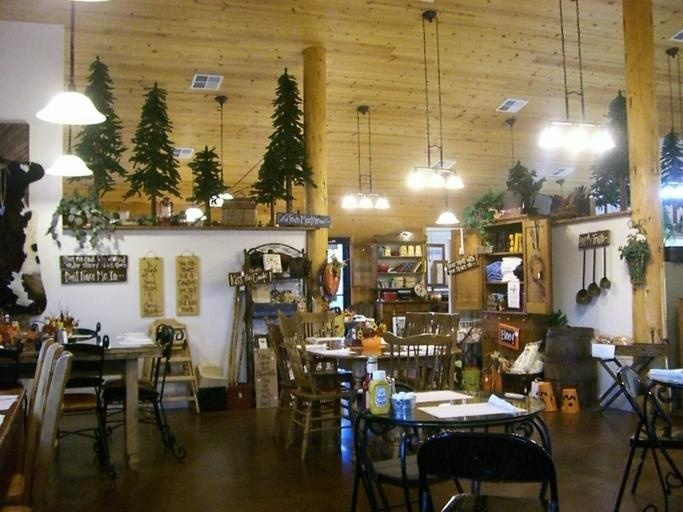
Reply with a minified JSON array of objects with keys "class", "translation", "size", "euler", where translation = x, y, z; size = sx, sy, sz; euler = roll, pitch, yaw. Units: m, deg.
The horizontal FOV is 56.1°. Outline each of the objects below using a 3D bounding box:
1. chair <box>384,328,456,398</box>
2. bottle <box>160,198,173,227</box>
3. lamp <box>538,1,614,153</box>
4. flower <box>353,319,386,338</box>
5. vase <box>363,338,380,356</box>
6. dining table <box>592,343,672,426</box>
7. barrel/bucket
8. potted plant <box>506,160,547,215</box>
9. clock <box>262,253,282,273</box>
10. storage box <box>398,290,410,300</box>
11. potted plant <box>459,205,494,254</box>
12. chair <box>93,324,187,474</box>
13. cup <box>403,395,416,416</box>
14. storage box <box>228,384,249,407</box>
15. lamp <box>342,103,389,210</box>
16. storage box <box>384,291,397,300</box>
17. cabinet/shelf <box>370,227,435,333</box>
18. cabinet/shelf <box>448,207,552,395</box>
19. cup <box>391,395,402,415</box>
[{"class":"chair","translation":[0.873,1.092,6.956],"size":[0.625,1.063,0.669],"euler":[0,5,-1]},{"class":"bottle","translation":[-2.547,-0.665,9.360],"size":[0.173,0.384,0.249],"euler":[-2,3,-12]},{"class":"lamp","translation":[3.711,-2.678,10.092],"size":[0.888,2.449,5.649],"euler":[0,4,21]},{"class":"flower","translation":[0.339,0.883,7.745],"size":[0.238,0.189,0.248],"euler":[0,5,8]},{"class":"vase","translation":[0.360,1.052,7.534],"size":[0.136,0.110,0.141],"euler":[0,-1,-17]},{"class":"dining table","translation":[3.376,1.488,7.440],"size":[0.763,1.060,0.952],"euler":[1,-4,-13]},{"class":"barrel/bucket","translation":[3.132,1.494,8.710],"size":[0.873,1.399,0.920],"euler":[1,-5,0]},{"class":"potted plant","translation":[3.034,-1.159,10.660],"size":[0.541,0.894,1.618],"euler":[0,3,15]},{"class":"clock","translation":[-1.020,0.109,9.490],"size":[0.257,0.284,0.288],"euler":[-1,3,-10]},{"class":"storage box","translation":[1.343,0.828,13.704],"size":[0.291,0.226,0.170],"euler":[2,8,1]},{"class":"potted plant","translation":[2.344,-0.563,10.967],"size":[0.646,0.884,0.616],"euler":[-3,-8,23]},{"class":"chair","translation":[-2.224,1.485,7.282],"size":[0.922,1.281,0.957],"euler":[7,-3,18]},{"class":"cup","translation":[0.496,1.086,4.661],"size":[0.101,0.105,0.120],"euler":[2,1,10]},{"class":"storage box","translation":[-1.450,1.985,9.138],"size":[0.268,0.287,0.279],"euler":[0,0,1]},{"class":"lamp","translation":[0.497,-1.909,13.191],"size":[0.864,1.920,2.573],"euler":[-1,3,2]},{"class":"storage box","translation":[1.031,0.842,13.674],"size":[0.184,0.144,0.161],"euler":[1,-3,-9]},{"class":"cabinet/shelf","translation":[1.342,0.598,13.909],"size":[1.076,2.350,0.727],"euler":[-1,-2,4]},{"class":"cabinet/shelf","translation":[2.510,0.600,10.084],"size":[1.027,2.509,2.073],"euler":[-1,3,-12]},{"class":"cup","translation":[0.395,1.070,4.632],"size":[0.075,0.132,0.068],"euler":[0,3,17]}]
